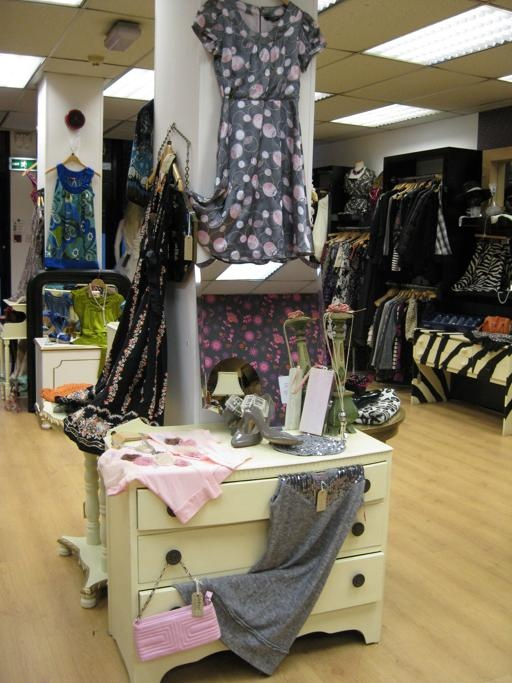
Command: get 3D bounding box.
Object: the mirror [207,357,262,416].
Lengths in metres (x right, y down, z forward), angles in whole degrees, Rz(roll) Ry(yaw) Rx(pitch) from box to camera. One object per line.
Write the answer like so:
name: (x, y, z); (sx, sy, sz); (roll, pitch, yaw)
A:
mirror: (-0.101, 0.193, 1.918); (0.104, 0.201, 0.093); (-7, 31, -17)

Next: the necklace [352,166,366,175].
necklace: (1.293, -2.128, 6.796); (0.109, 0.080, 0.137); (-3, -3, 12)

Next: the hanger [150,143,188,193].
hanger: (-0.328, -0.633, 1.979); (0.204, 0.166, 0.064); (14, 14, 34)

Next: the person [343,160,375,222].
person: (1.287, -1.879, 6.835); (0.382, 0.710, 0.224); (3, 3, 23)

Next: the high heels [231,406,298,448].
high heels: (0.024, 0.266, 1.644); (0.172, 0.076, 0.113); (9, 7, 22)

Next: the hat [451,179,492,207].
hat: (2.133, -1.420, 5.264); (0.354, 0.272, 0.270); (1, 3, -11)

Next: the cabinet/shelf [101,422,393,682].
cabinet/shelf: (-0.053, 0.405, 1.795); (1.086, 0.825, 0.624); (-2, 4, -26)

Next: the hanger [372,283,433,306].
hanger: (1.614, -0.486, 5.843); (0.367, 0.238, 0.802); (0, 3, -26)

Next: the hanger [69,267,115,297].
hanger: (-1.454, -0.516, 4.794); (0.288, 0.190, 0.022); (0, 4, -17)

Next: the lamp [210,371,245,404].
lamp: (-0.088, 0.161, 1.849); (0.095, 0.119, 0.094); (3, -5, -41)

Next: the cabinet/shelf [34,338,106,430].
cabinet/shelf: (-1.588, 0.348, 4.604); (0.564, 0.642, 0.562); (1, 5, -9)

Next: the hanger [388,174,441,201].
hanger: (1.670, -1.609, 5.637); (0.308, 0.196, 0.456); (-20, 19, -34)
